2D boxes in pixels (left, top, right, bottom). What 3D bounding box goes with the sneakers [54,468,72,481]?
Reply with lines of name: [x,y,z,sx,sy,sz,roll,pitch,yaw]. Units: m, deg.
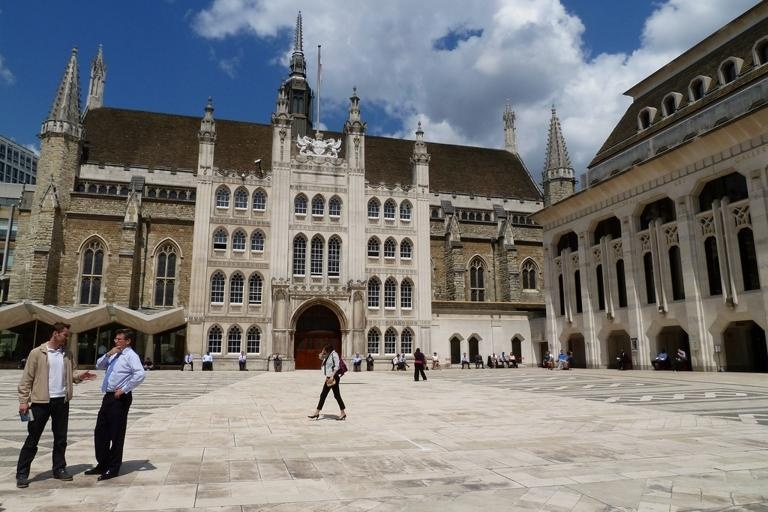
sneakers: [-5.656,3.848,9.556,0.411,0.152,0.150,-5,-12,28]

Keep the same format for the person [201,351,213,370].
person: [-12.741,7.482,38.728,0.727,1.226,0.801,4,-13,-19]

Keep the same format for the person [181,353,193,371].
person: [-14.004,7.479,38.565,0.667,1.164,0.760,4,-13,-17]

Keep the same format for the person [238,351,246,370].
person: [-10.411,7.552,39.360,0.520,1.347,0.608,4,-13,-17]

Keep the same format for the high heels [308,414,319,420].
high heels: [-1.989,4.398,14.858,0.315,0.150,0.100,12,-19,-13]

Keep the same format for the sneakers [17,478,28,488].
sneakers: [-6.182,3.836,9.185,0.182,0.158,0.158,8,-14,-31]

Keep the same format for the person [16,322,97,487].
person: [-6.114,2.618,9.871,1.050,2.812,0.916,4,-13,-15]

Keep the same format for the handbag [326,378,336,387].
handbag: [-1.478,3.462,14.918,0.120,0.149,0.347,7,-29,-25]
